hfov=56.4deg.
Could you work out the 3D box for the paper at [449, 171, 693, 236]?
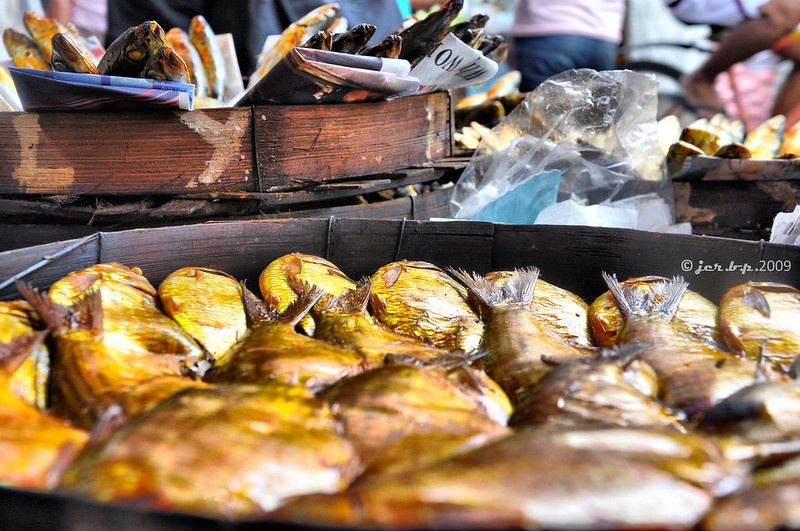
[{"bbox_3d":[0.796,-0.243,3.209,0.634,0.182,0.439,2,5,-8],"label":"paper"}]
